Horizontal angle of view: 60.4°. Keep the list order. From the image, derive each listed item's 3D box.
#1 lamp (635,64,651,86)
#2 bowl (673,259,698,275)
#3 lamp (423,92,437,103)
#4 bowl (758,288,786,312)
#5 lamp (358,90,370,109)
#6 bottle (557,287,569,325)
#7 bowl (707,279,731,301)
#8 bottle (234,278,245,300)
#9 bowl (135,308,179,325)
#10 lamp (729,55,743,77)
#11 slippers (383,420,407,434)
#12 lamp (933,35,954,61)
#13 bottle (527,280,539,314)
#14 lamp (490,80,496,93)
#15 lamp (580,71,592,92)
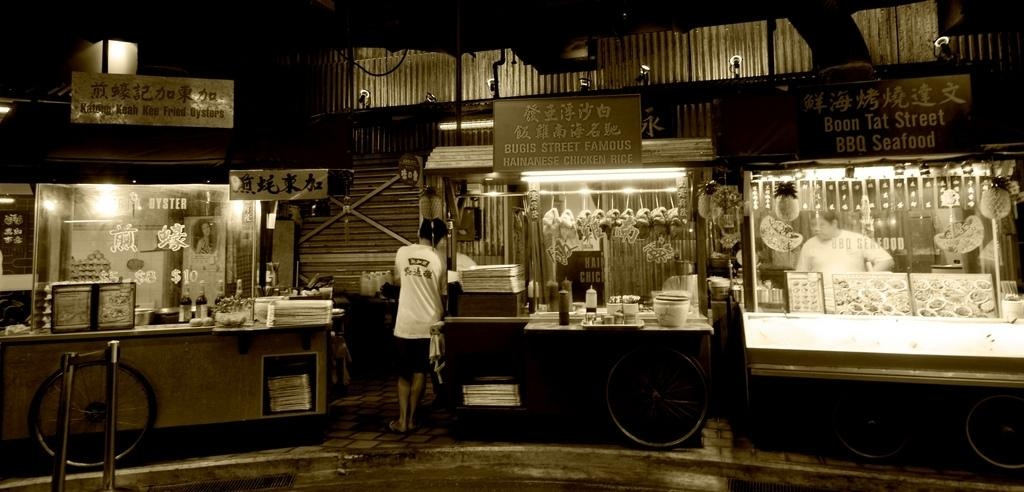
[{"bbox_3d":[3.298,-4.350,22.318,0.323,0.548,0.368,-1,1,19],"label":"lamp"},{"bbox_3d":[3.728,0.490,19.066,0.395,0.296,0.337,0,0,13],"label":"bowl"},{"bbox_3d":[-2.082,-3.828,22.861,0.327,0.217,0.424,8,-1,-33],"label":"lamp"},{"bbox_3d":[5.527,1.182,18.767,0.576,0.329,0.533,1,0,0],"label":"bowl"},{"bbox_3d":[-3.866,-3.887,23.167,0.321,0.386,0.521,-2,1,-10],"label":"lamp"},{"bbox_3d":[1.108,1.316,18.644,0.269,0.754,0.209,-2,1,-7],"label":"bottle"},{"bbox_3d":[4.649,1.020,19.817,0.466,0.447,0.247,-1,1,18],"label":"bowl"},{"bbox_3d":[-6.084,0.963,19.724,0.178,0.330,0.198,-2,1,-16],"label":"bottle"},{"bbox_3d":[-7.558,1.532,18.837,0.865,0.320,0.526,-2,1,-20],"label":"bowl"},{"bbox_3d":[5.540,-4.477,21.882,0.315,0.576,0.356,-1,1,14],"label":"lamp"},{"bbox_3d":[-2.478,3.912,18.865,0.439,0.165,0.234,1,-4,34],"label":"slippers"},{"bbox_3d":[10.292,-4.721,21.032,0.525,0.523,0.503,-9,-31,37],"label":"lamp"},{"bbox_3d":[0.447,1.119,19.271,0.165,0.688,0.271,-1,1,18],"label":"bottle"},{"bbox_3d":[-0.501,-4.177,22.899,0.091,0.345,0.286,-2,1,-24],"label":"lamp"},{"bbox_3d":[1.856,-4.167,22.369,0.311,0.567,0.538,-1,1,4],"label":"lamp"}]
